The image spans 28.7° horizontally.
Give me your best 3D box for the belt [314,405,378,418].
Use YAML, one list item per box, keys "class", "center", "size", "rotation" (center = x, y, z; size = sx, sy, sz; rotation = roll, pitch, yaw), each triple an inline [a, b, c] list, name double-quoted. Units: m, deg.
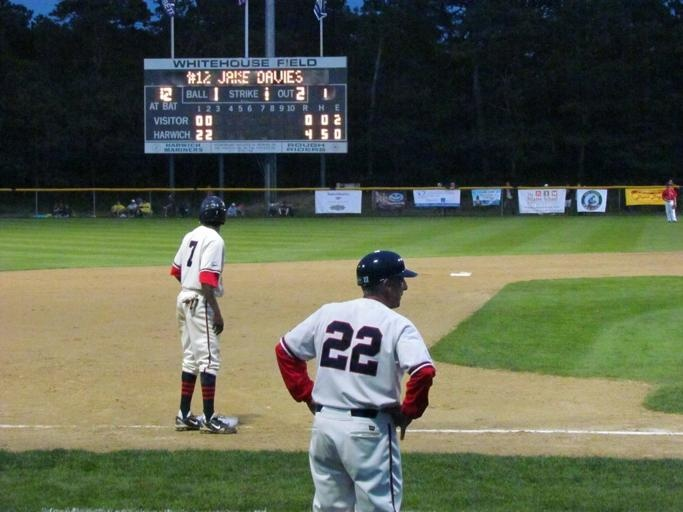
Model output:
- class: "belt"
  center: [0.194, 4.150, 35.522]
  size: [1.626, 0.336, 0.082]
  rotation: [0, 2, 6]
